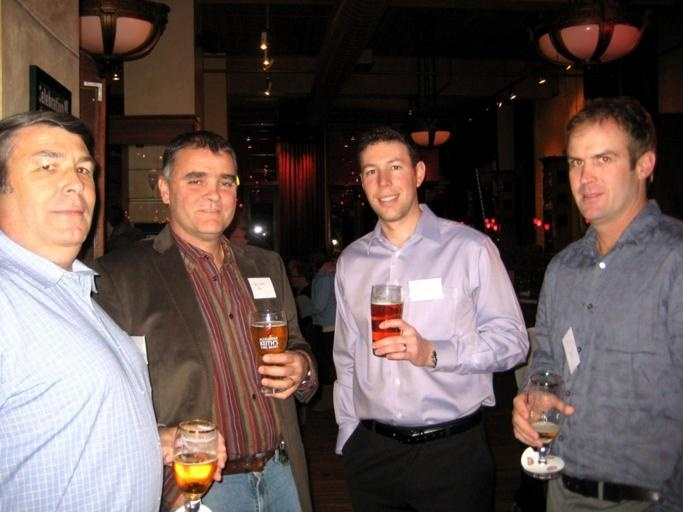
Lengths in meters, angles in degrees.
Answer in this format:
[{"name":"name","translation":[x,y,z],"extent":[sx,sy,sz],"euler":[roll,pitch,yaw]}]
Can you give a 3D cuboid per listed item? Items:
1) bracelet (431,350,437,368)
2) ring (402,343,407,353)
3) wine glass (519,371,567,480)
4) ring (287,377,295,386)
[{"name":"bracelet","translation":[0.404,0.455,2.519],"extent":[0.019,0.060,0.044],"euler":[4,-7,27]},{"name":"ring","translation":[0.260,0.382,2.379],"extent":[0.022,0.028,0.029],"euler":[-1,-32,-15]},{"name":"wine glass","translation":[0.822,0.685,2.358],"extent":[0.169,0.444,0.209],"euler":[-2,-1,20]},{"name":"ring","translation":[-0.208,0.522,2.376],"extent":[0.030,0.033,0.032],"euler":[-3,-10,-1]}]
